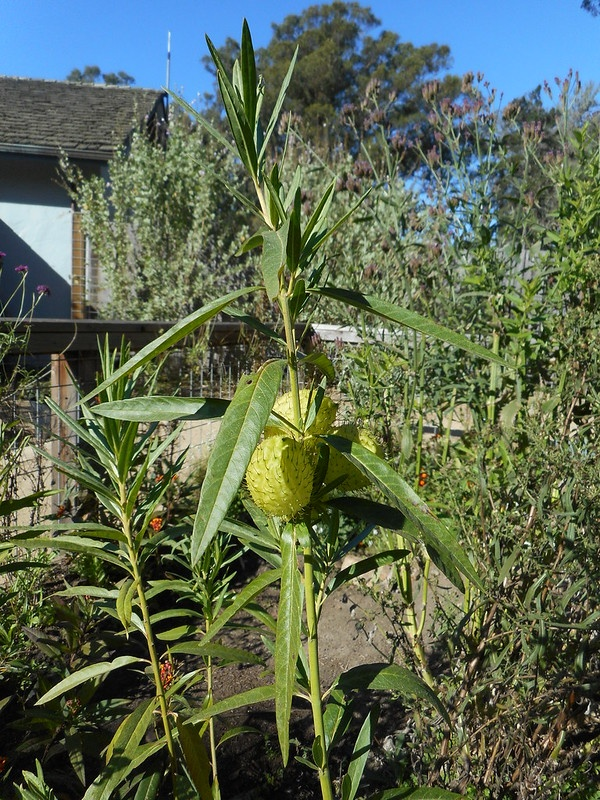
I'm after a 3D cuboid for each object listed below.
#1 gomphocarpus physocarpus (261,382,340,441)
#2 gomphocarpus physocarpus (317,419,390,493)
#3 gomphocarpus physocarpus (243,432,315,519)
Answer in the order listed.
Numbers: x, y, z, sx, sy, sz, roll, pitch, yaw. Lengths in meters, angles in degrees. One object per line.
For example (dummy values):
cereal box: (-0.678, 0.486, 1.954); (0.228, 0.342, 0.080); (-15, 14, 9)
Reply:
gomphocarpus physocarpus: (0.013, 0.019, 1.503); (0.096, 0.092, 0.031); (-14, -34, 13)
gomphocarpus physocarpus: (0.083, 0.096, 1.530); (0.039, 0.116, 0.114); (26, -6, 41)
gomphocarpus physocarpus: (-0.029, 0.119, 1.446); (0.120, 0.123, 0.127); (13, 31, 19)
